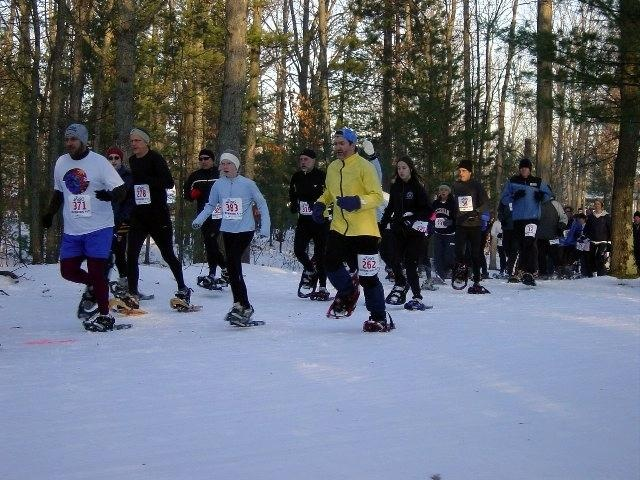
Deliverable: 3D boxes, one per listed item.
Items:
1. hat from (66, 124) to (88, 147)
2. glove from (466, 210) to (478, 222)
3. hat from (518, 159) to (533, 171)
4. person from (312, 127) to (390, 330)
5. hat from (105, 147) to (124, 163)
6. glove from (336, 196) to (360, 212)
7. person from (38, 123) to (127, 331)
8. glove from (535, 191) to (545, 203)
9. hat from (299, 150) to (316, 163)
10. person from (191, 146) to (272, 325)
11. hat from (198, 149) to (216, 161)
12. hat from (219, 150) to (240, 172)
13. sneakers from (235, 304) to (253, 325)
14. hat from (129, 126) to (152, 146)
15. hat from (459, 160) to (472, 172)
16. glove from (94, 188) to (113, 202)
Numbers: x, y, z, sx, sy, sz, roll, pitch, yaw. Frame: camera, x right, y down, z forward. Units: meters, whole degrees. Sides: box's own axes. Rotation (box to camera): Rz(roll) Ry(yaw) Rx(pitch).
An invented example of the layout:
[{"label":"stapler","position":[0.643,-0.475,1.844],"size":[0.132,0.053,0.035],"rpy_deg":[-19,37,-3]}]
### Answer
[{"label":"hat","position":[-3.062,-1.323,8.701],"size":[0.312,0.282,0.284],"rpy_deg":[-6,10,-36]},{"label":"glove","position":[2.792,-0.432,12.480],"size":[0.197,0.173,0.069],"rpy_deg":[1,8,6]},{"label":"hat","position":[4.064,-1.474,13.630],"size":[0.182,0.234,0.264],"rpy_deg":[-4,-29,23]},{"label":"person","position":[0.369,-0.147,8.840],"size":[0.920,2.510,1.289],"rpy_deg":[-2,8,-14]},{"label":"hat","position":[-3.064,-1.238,10.299],"size":[0.188,0.244,0.248],"rpy_deg":[-6,-5,-6]},{"label":"glove","position":[0.347,-0.426,8.204],"size":[0.285,0.179,0.149],"rpy_deg":[0,8,-1]},{"label":"person","position":[-2.961,-0.159,8.678],"size":[1.031,2.558,0.584],"rpy_deg":[3,8,19]},{"label":"glove","position":[4.247,-0.822,13.283],"size":[0.147,0.194,0.189],"rpy_deg":[20,-35,-27]},{"label":"hat","position":[-0.211,-1.369,11.332],"size":[0.213,0.195,0.237],"rpy_deg":[-2,19,-24]},{"label":"person","position":[-1.145,-0.031,9.334],"size":[0.897,2.253,1.249],"rpy_deg":[-2,8,-18]},{"label":"hat","position":[-1.979,-1.473,11.991],"size":[0.168,0.204,0.233],"rpy_deg":[-10,-20,0]},{"label":"hat","position":[-1.253,-1.113,9.540],"size":[0.199,0.229,0.272],"rpy_deg":[5,2,13]},{"label":"sneakers","position":[-0.996,0.955,8.901],"size":[0.192,0.267,0.607],"rpy_deg":[-1,-6,6]},{"label":"hat","position":[-2.654,-1.569,10.160],"size":[0.227,0.225,0.284],"rpy_deg":[6,-21,31]},{"label":"hat","position":[2.716,-1.346,12.776],"size":[0.178,0.195,0.235],"rpy_deg":[9,21,-3]},{"label":"glove","position":[-2.630,-0.537,8.382],"size":[0.188,0.132,0.159],"rpy_deg":[-4,9,-24]}]
